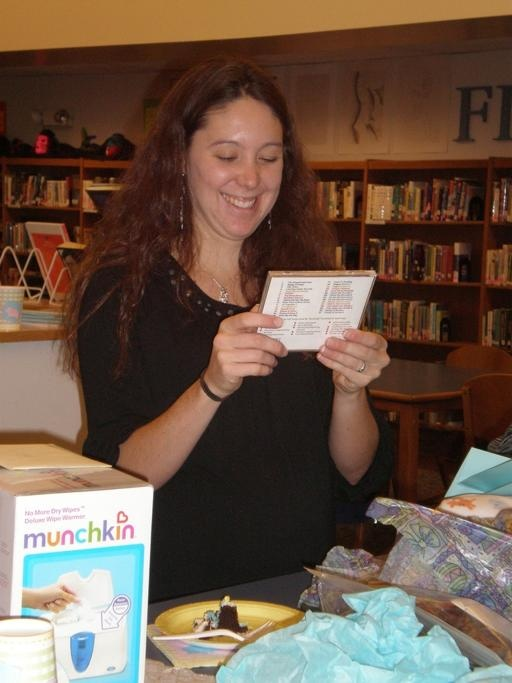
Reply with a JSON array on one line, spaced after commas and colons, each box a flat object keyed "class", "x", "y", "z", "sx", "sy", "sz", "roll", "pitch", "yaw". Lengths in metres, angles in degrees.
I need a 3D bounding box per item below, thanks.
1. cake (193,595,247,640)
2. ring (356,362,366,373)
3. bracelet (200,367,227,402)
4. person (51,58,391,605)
[{"class": "cake", "x": -0.042, "y": 0.343, "z": 0.709, "sx": 0.035, "sy": 0.016, "sz": 0.028, "roll": 6, "pitch": 6, "yaw": 40}, {"class": "ring", "x": 0.187, "y": 0.045, "z": 1.027, "sx": 0.016, "sy": 0.017, "sz": 0.016, "roll": 0, "pitch": -10, "yaw": 0}, {"class": "bracelet", "x": -0.074, "y": 0.068, "z": 0.913, "sx": 0.043, "sy": 0.010, "sz": 0.045, "roll": 32, "pitch": -5, "yaw": 43}, {"class": "person", "x": -0.026, "y": -0.031, "z": 1.185, "sx": 0.659, "sy": 1.027, "sz": 0.593, "roll": -2, "pitch": 2, "yaw": -33}]
